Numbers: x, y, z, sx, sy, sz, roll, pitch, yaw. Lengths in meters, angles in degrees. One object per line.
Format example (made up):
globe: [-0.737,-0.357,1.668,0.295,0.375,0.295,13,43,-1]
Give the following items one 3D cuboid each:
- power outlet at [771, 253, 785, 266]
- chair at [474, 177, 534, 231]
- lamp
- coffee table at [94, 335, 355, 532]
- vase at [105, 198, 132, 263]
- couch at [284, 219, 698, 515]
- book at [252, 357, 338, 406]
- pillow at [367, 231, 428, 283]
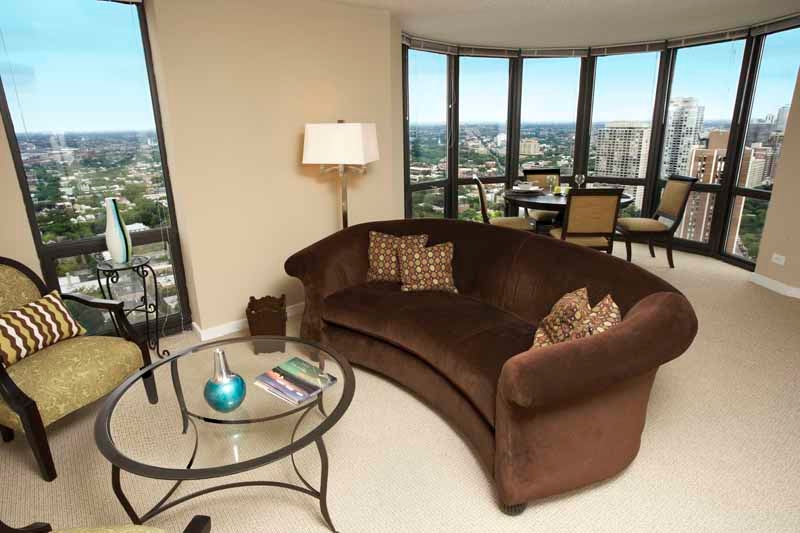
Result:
power outlet: [4.012,-0.085,5.252,0.017,0.082,0.123,-13,21,-28]
chair: [1.294,-0.826,6.276,0.721,1.091,0.653,-2,27,7]
lamp: [-0.531,-0.857,4.661,0.632,0.988,0.649,0,21,2]
coffee table: [-0.982,0.832,3.000,1.258,0.611,1.295,25,38,30]
vase: [-2.302,-0.282,3.999,0.155,0.532,0.244,-13,25,-29]
couch: [0.529,0.487,3.796,1.541,1.283,2.763,-18,26,-39]
book: [-0.632,0.698,3.041,0.309,0.038,0.283,20,29,36]
pillow: [-0.121,-0.077,4.365,0.495,0.420,0.149,4,-3,5]
